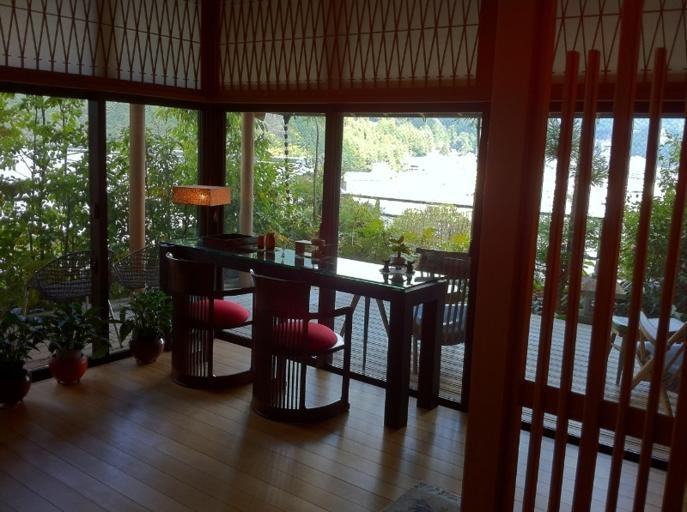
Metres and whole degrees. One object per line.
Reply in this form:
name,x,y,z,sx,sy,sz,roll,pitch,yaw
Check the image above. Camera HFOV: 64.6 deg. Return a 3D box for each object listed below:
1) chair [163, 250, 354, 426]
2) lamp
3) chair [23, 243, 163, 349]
chair,-0.718,0.720,4.720,1.099,0.793,0.484,13,19,36
lamp,-1.452,-0.435,5.670,0.521,0.587,0.296,9,15,32
chair,-2.566,0.134,5.561,1.109,1.250,0.872,-14,30,-40
